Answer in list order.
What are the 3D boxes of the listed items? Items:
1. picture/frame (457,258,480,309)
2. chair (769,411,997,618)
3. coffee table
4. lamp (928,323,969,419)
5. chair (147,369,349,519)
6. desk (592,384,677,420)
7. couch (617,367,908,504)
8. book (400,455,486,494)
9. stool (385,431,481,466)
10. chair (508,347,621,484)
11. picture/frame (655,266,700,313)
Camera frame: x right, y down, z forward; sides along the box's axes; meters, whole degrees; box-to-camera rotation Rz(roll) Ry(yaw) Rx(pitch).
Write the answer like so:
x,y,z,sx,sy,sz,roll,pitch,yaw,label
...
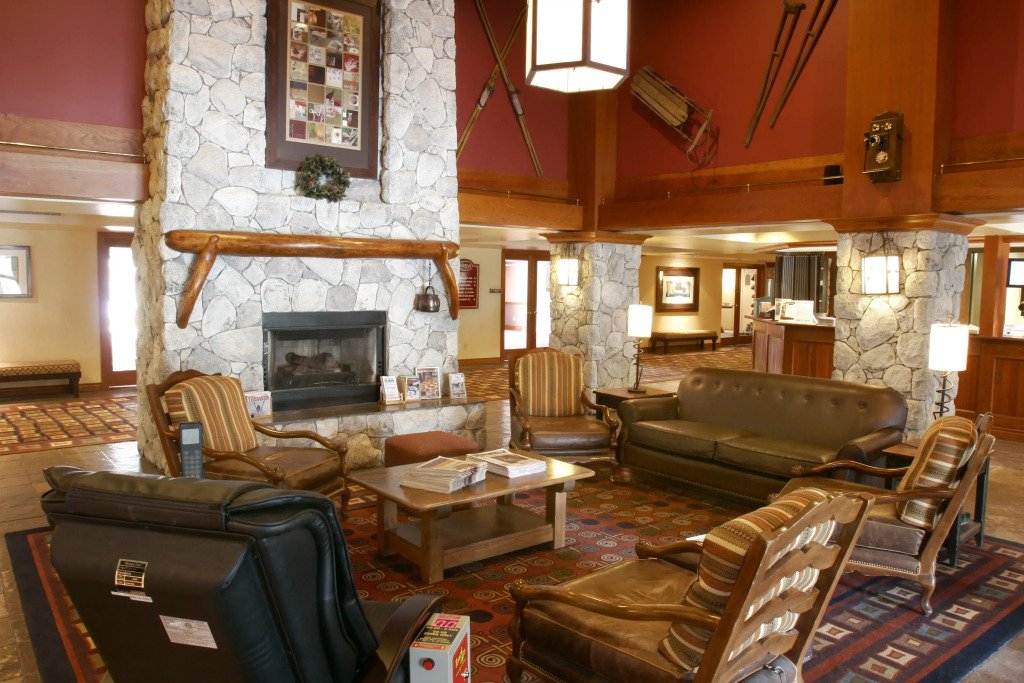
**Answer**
x,y,z,sx,sy,sz,roll,pitch,yaw,label
-0.865,-1.144,12.881,0.135,0.981,0.453,2,7,43,picture/frame
2.267,1.067,4.372,1.393,1.082,1.005,9,3,-14,chair
-0.445,1.227,4.675,1.353,0.438,0.892,-5,7,-41,coffee table
4.117,0.309,6.195,0.278,1.003,1.288,1,5,32,lamp
-2.094,0.848,5.191,1.244,0.991,0.851,8,9,17,chair
1.338,0.583,6.697,0.442,0.374,0.412,-3,10,-23,desk
2.146,0.746,5.829,1.229,1.046,2.685,-3,4,-41,couch
-0.420,0.902,4.483,0.305,0.089,0.298,3,5,32,book
-0.766,0.881,5.560,0.456,0.249,0.435,-2,2,-36,stool
0.467,0.626,6.352,1.101,1.034,0.951,1,8,3,chair
4.292,-1.367,16.904,0.092,1.181,1.777,-6,8,-21,picture/frame
